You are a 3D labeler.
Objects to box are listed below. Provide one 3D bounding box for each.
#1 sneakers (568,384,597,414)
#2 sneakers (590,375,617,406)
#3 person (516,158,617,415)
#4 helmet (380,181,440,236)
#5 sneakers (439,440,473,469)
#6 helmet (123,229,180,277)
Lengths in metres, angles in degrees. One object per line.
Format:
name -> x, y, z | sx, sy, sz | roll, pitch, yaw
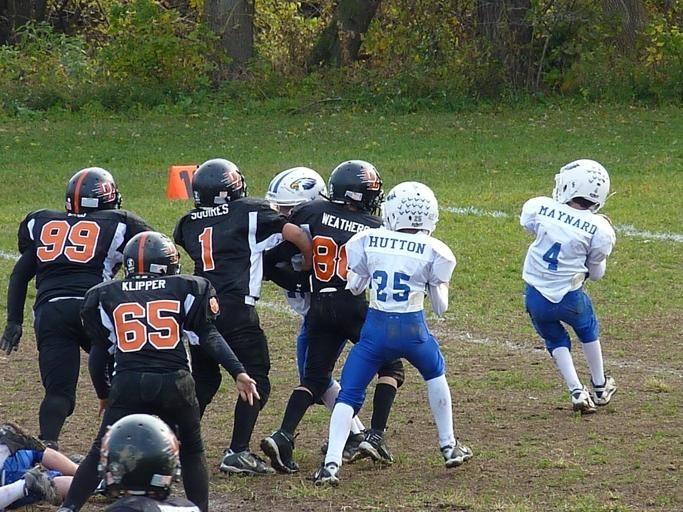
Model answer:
sneakers -> 2.723, 1.637, 14.218 | 0.281, 0.306, 0.142 | 0, 10, -4
sneakers -> 3.016, 1.528, 14.506 | 0.162, 0.200, 0.447 | -1, 32, 27
person -> 2.601, 0.331, 14.397 | 1.123, 2.760, 0.879 | 3, 10, 11
helmet -> 0.720, -0.529, 13.566 | 0.480, 0.452, 0.591 | 2, 16, -2
sneakers -> 1.197, 2.079, 13.199 | 0.162, 0.222, 0.480 | -12, -5, 33
helmet -> -1.912, -0.018, 12.813 | 0.414, 0.391, 0.516 | 2, 5, 12
